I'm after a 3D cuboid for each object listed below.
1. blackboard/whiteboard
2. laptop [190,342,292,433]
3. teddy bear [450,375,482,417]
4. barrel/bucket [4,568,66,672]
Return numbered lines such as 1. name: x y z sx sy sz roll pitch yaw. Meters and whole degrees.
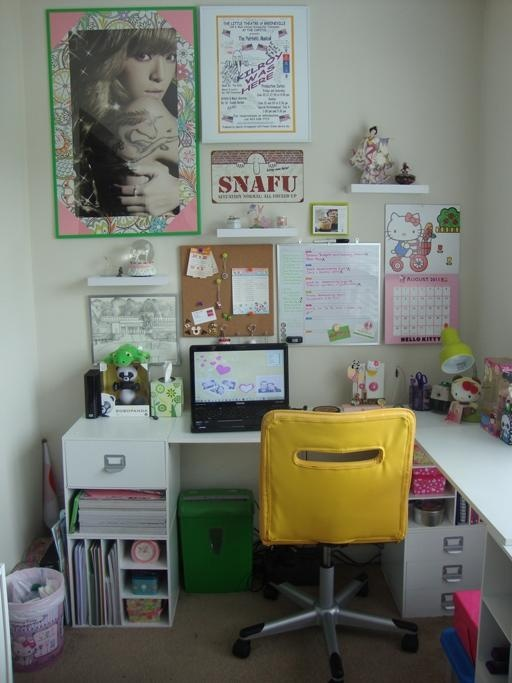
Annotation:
1. blackboard/whiteboard: 0.287 -0.213 2.453 0.424 0.411 0.027 -1 10 -1
2. laptop: -0.066 0.160 2.294 0.471 0.330 0.302 0 3 -1
3. teddy bear: 0.826 0.219 2.302 0.118 0.171 0.105 5 10 31
4. barrel/bucket: -0.742 0.939 2.000 0.180 0.269 0.263 -5 10 -23
